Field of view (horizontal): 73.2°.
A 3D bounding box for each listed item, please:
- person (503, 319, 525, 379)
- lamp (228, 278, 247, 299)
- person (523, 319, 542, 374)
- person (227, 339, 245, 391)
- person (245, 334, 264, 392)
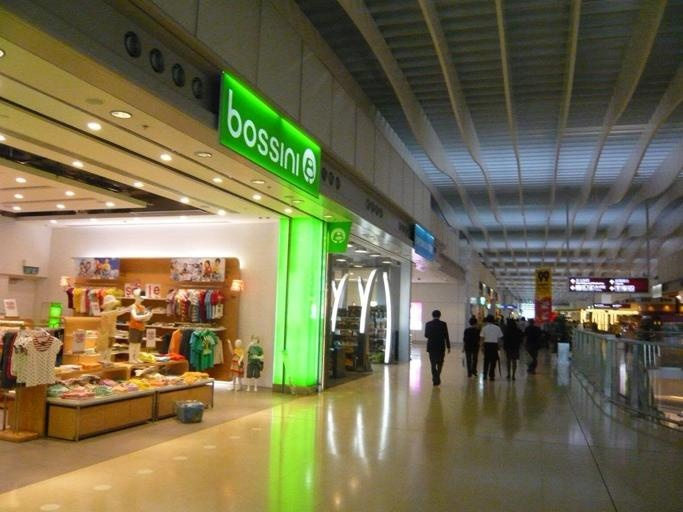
[{"bbox_3d":[4.695,2.490,12.661,0.436,1.562,1.828,0,-7,20],"label":"person"},{"bbox_3d":[-2.143,0.664,9.560,0.349,0.316,0.338,1,-9,0],"label":"lamp"},{"bbox_3d":[5.754,2.740,13.851,0.403,1.401,1.644,0,-7,22],"label":"person"},{"bbox_3d":[-2.122,2.156,9.245,0.377,0.986,0.919,4,-7,-14],"label":"person"},{"bbox_3d":[-1.721,2.125,9.208,0.334,1.059,0.494,3,-7,-9],"label":"person"}]
